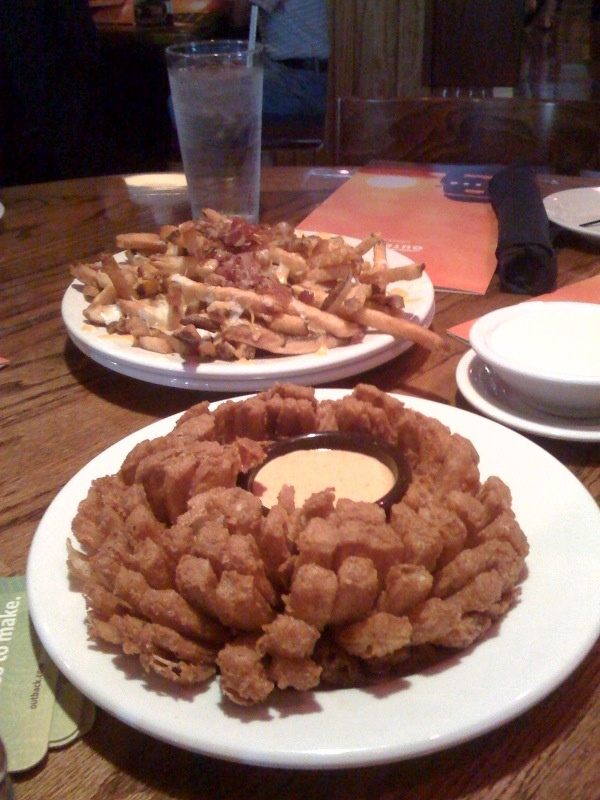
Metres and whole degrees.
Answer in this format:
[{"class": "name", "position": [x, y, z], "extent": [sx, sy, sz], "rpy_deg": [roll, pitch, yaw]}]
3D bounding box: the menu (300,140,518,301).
[{"class": "menu", "position": [0.269, -0.422, 1.523], "extent": [0.494, 0.073, 0.686], "rpy_deg": [3, 31, 7]}]

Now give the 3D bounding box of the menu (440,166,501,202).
[{"class": "menu", "position": [0.460, -0.592, 1.816], "extent": [0.167, 0.041, 0.172], "rpy_deg": [10, 42, 17]}]

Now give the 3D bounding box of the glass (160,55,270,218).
[{"class": "glass", "position": [-0.184, -0.636, 1.564], "extent": [0.216, 0.374, 0.239], "rpy_deg": [16, 32, 33]}]
